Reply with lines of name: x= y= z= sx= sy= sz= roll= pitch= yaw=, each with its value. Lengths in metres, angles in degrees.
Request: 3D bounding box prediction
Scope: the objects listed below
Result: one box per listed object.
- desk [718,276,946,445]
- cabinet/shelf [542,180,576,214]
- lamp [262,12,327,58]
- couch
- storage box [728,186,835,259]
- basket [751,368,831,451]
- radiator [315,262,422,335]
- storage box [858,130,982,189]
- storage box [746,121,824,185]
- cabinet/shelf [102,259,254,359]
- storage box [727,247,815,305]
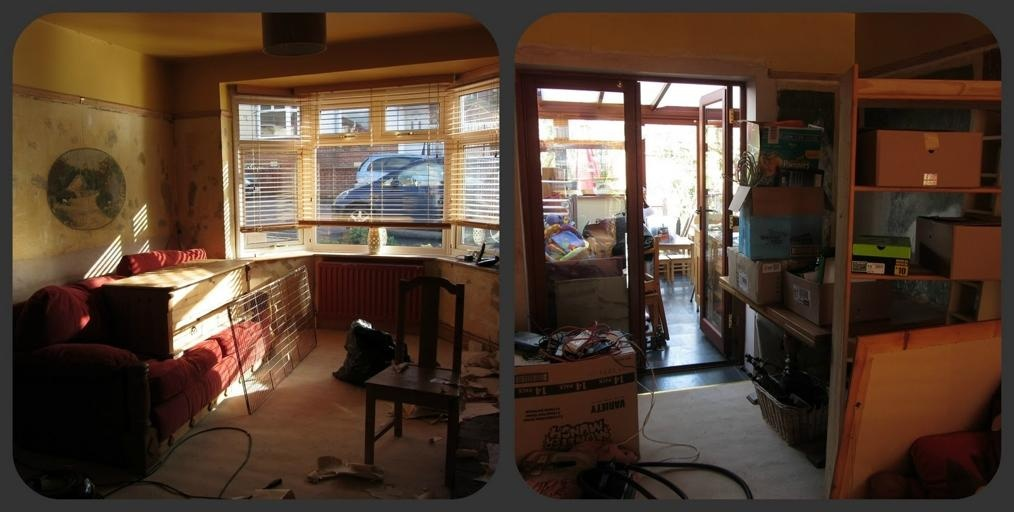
desk: x=2.610 y=0.798 z=5.104 sx=1.288 sy=0.677 sz=1.646 roll=0 pitch=10 yaw=-1
cabinet/shelf: x=0.479 y=-0.573 z=6.082 sx=0.412 sy=0.292 sz=0.337 roll=0 pitch=2 yaw=0
lamp: x=-1.886 y=-1.983 z=5.530 sx=0.531 sy=0.434 sz=0.458 roll=-1 pitch=6 yaw=-16
couch: x=-3.601 y=0.811 z=6.352 sx=1.431 sy=1.352 sz=2.812 roll=14 pitch=8 yaw=-5
storage box: x=2.400 y=-0.308 z=5.695 sx=1.189 sy=0.646 sz=0.652 roll=-1 pitch=1 yaw=-8
basket: x=2.422 y=1.385 z=5.345 sx=0.475 sy=0.278 sz=0.563 roll=-3 pitch=5 yaw=-19
radiator: x=-1.568 y=0.415 z=6.861 sx=1.265 sy=0.633 sz=0.143 roll=2 pitch=1 yaw=26
storage box: x=3.124 y=-0.725 z=4.801 sx=0.826 sy=0.316 sz=0.518 roll=0 pitch=5 yaw=3
storage box: x=2.486 y=-0.909 z=5.534 sx=0.746 sy=0.524 sz=0.351 roll=3 pitch=0 yaw=9
cabinet/shelf: x=-3.095 y=0.323 z=5.840 sx=0.921 sy=0.575 sz=1.411 roll=2 pitch=10 yaw=12
storage box: x=2.342 y=0.165 z=5.522 sx=0.606 sy=0.279 sz=0.538 roll=-5 pitch=10 yaw=-22
